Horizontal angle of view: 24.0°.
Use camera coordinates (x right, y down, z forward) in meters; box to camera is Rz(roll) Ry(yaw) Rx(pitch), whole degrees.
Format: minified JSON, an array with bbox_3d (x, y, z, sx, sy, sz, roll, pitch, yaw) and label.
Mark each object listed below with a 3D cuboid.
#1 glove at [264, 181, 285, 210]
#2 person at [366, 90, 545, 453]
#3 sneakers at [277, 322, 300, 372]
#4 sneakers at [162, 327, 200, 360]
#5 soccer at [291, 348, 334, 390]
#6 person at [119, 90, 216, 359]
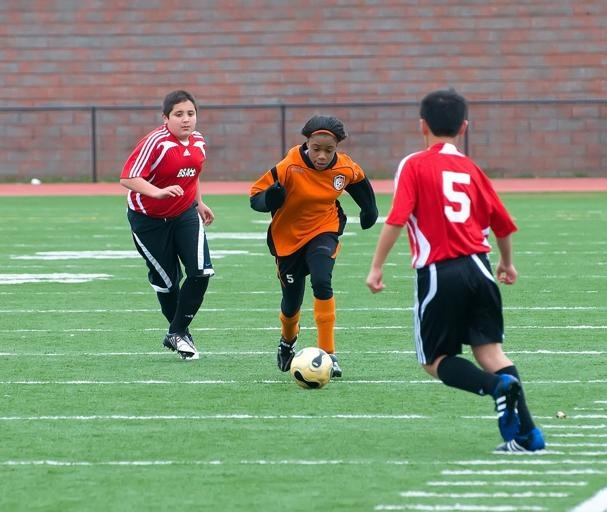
[{"bbox_3d":[-0.280,-0.590,14.107,0.185,0.294,0.199,1,10,8],"label":"glove"},{"bbox_3d":[1.409,0.118,12.907,1.471,3.184,0.696,4,11,23],"label":"person"},{"bbox_3d":[-0.148,0.942,14.512,0.158,0.382,0.196,5,6,11],"label":"sneakers"},{"bbox_3d":[-1.369,0.894,14.813,0.476,0.168,0.215,9,-18,41],"label":"sneakers"},{"bbox_3d":[0.056,1.083,14.103,0.447,0.379,0.407,7,-1,-17],"label":"soccer"},{"bbox_3d":[-1.409,-0.320,14.730,0.930,2.720,0.814,-2,10,-9],"label":"person"}]
